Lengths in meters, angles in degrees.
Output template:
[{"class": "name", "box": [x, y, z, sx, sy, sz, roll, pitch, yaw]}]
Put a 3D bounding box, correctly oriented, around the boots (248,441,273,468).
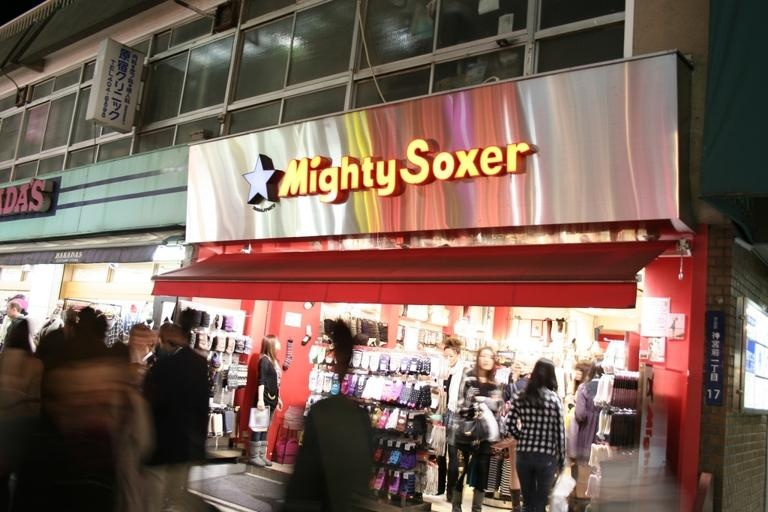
[{"class": "boots", "box": [-2.150, 3.411, 9.459, 0.475, 0.432, 0.396, 1, -11, 4]}]
